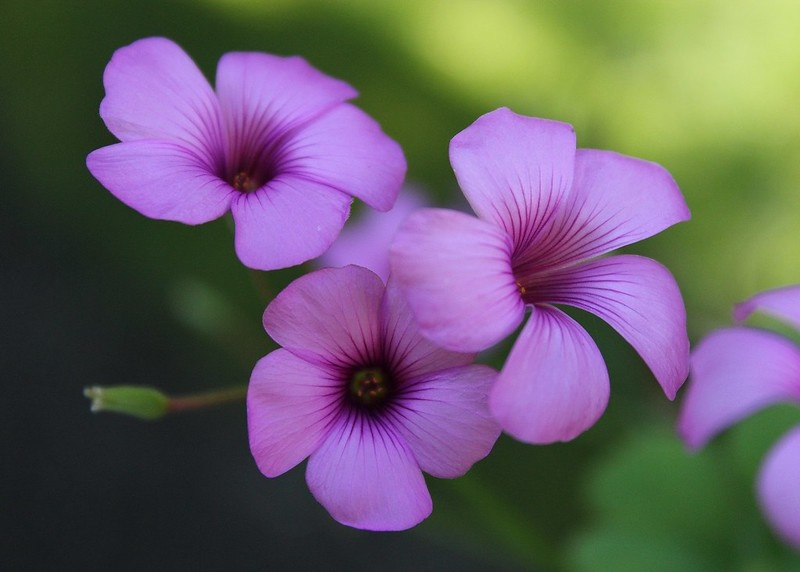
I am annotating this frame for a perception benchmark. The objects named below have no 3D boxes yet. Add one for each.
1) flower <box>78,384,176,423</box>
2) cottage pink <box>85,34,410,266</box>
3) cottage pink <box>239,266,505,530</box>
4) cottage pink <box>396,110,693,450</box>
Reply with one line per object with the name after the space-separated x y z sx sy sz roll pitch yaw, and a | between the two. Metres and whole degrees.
-0.532 0.241 1.599 0.230 0.079 0.060 9 13 -26 | flower
-0.288 -0.269 1.520 0.593 0.250 0.434 21 47 12 | cottage pink
-0.055 0.214 1.418 0.455 0.335 0.329 25 47 16 | cottage pink
0.245 -0.014 1.463 0.590 0.234 0.644 10 79 -22 | cottage pink
